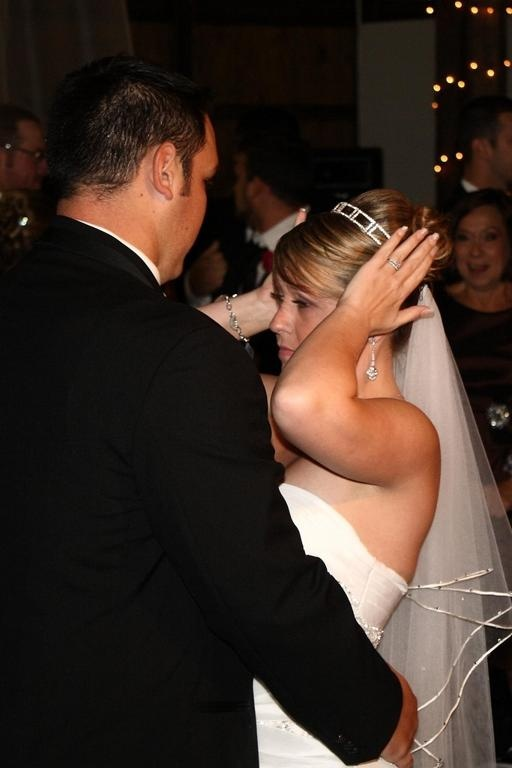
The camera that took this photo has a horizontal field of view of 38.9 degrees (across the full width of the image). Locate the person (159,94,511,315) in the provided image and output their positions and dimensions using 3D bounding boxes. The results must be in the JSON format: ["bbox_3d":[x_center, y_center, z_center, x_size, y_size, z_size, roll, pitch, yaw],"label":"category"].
[{"bbox_3d":[0.153,-0.863,4.161,1.597,1.282,0.364,2,-9,12],"label":"person"}]

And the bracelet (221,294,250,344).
[{"bbox_3d":[-0.051,-0.180,2.032,0.034,0.127,0.106,-41,-14,15],"label":"bracelet"}]
